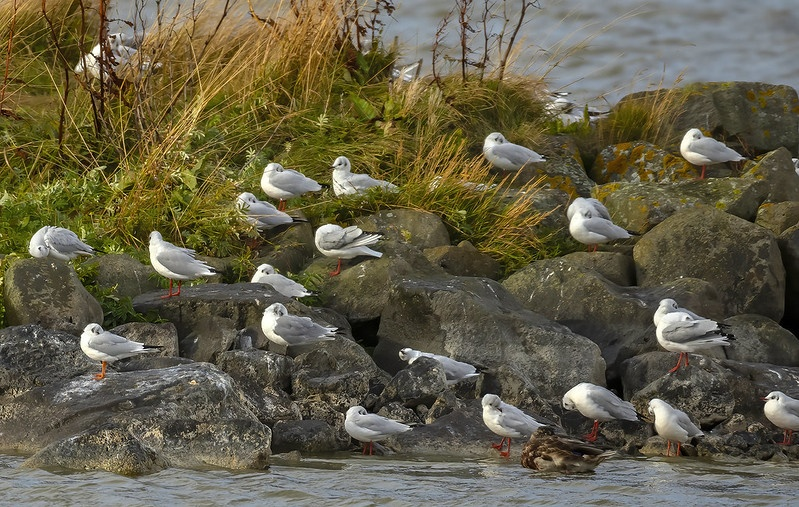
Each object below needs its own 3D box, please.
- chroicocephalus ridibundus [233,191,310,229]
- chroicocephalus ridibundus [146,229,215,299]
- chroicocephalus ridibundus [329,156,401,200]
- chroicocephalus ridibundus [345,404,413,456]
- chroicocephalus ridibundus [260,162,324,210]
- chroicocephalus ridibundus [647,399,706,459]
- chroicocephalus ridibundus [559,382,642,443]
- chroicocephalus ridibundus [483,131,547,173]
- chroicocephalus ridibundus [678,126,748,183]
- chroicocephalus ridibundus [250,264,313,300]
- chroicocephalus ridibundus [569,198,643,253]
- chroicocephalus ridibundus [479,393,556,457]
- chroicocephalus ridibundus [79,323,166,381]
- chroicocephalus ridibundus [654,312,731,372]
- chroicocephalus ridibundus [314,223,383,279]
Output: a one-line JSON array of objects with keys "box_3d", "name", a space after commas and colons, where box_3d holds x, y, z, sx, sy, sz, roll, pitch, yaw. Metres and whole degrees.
[{"box_3d": [-1.783, -0.570, 16.657, 1.158, 0.580, 0.378, 2, 26, 27], "name": "chroicocephalus ridibundus"}, {"box_3d": [-2.816, 0.161, 15.366, 0.875, 0.770, 0.568, 13, 8, 29], "name": "chroicocephalus ridibundus"}, {"box_3d": [-0.488, -1.113, 17.339, 0.933, 0.566, 0.491, -3, 0, -6], "name": "chroicocephalus ridibundus"}, {"box_3d": [-0.303, 1.995, 13.588, 1.036, 0.554, 0.382, 2, -9, -4], "name": "chroicocephalus ridibundus"}, {"box_3d": [-1.532, -0.976, 17.026, 0.908, 0.625, 0.496, -2, 19, -15], "name": "chroicocephalus ridibundus"}, {"box_3d": [3.254, 2.044, 13.908, 0.898, 0.623, 0.402, 8, -11, -28], "name": "chroicocephalus ridibundus"}, {"box_3d": [2.407, 1.869, 14.188, 1.061, 0.623, 0.421, -1, 6, -10], "name": "chroicocephalus ridibundus"}, {"box_3d": [1.864, -1.585, 18.719, 1.084, 0.632, 0.576, -4, 9, -5], "name": "chroicocephalus ridibundus"}, {"box_3d": [4.822, -1.652, 18.683, 1.226, 0.841, 0.629, 1, 2, 3], "name": "chroicocephalus ridibundus"}, {"box_3d": [-1.581, 0.403, 15.759, 0.950, 0.517, 0.398, 0, 2, 0], "name": "chroicocephalus ridibundus"}, {"box_3d": [2.890, -0.420, 17.322, 1.085, 0.762, 0.627, -9, 14, -23], "name": "chroicocephalus ridibundus"}, {"box_3d": [1.341, 1.951, 13.856, 1.153, 0.666, 0.372, -1, 6, -33], "name": "chroicocephalus ridibundus"}, {"box_3d": [-3.236, 1.135, 13.838, 1.062, 0.567, 0.343, 6, 0, -39], "name": "chroicocephalus ridibundus"}, {"box_3d": [3.622, 1.020, 14.799, 1.071, 0.823, 0.550, -8, -16, 36], "name": "chroicocephalus ridibundus"}, {"box_3d": [-0.657, -0.089, 16.246, 1.032, 0.623, 0.513, -5, -1, 15], "name": "chroicocephalus ridibundus"}]
